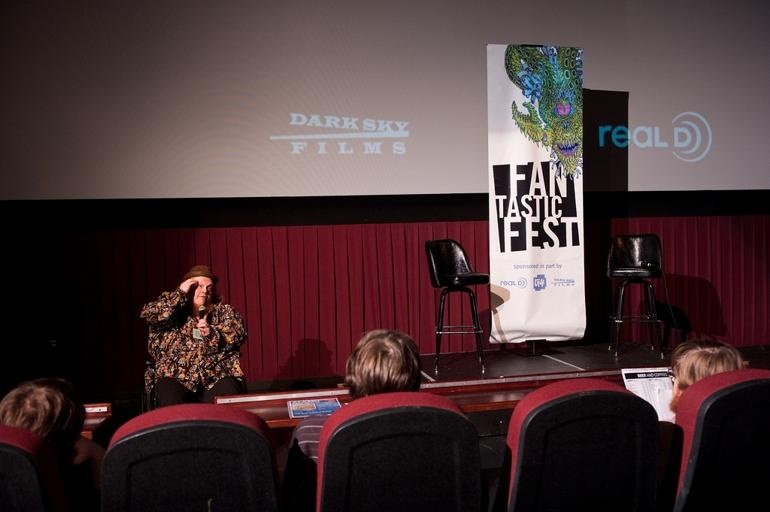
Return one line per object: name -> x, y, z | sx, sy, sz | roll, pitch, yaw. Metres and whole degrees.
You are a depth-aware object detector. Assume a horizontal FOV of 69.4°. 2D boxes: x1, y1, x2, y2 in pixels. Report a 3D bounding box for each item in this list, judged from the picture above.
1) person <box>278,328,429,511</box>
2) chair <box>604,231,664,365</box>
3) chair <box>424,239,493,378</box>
person -> -0.109, 0.720, 2.715 | 0.626, 1.125, 0.727 | 0, -4, -14
chair -> 2.469, 0.387, 5.480 | 0.529, 1.206, 1.208 | -2, 2, 26
chair -> 0.675, 0.401, 5.067 | 0.525, 1.130, 1.073 | -2, 2, 7
